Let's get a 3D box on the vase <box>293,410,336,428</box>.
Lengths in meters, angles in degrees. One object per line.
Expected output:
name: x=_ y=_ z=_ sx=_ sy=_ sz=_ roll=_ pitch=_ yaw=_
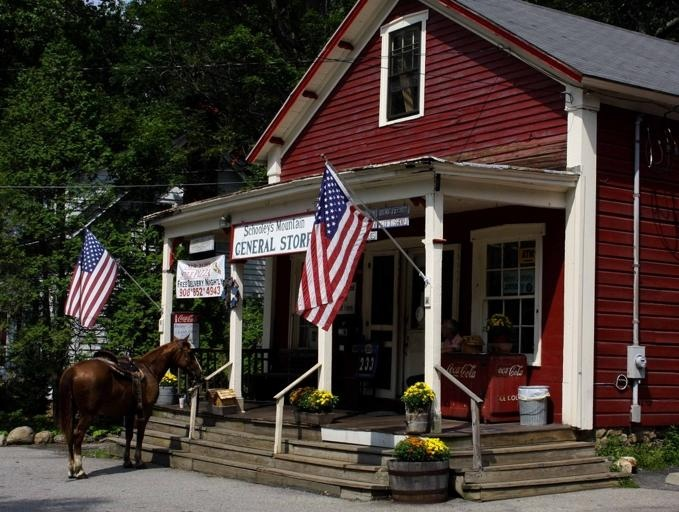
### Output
vase: x=-0.481 y=2.937 z=15.738 sx=0.727 sy=0.295 sz=0.441 roll=1 pitch=-11 yaw=9

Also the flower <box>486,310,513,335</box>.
flower: x=3.026 y=1.255 z=16.430 sx=0.393 sy=0.396 sz=0.405 roll=-9 pitch=-14 yaw=38

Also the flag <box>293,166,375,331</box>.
flag: x=-0.099 y=-0.179 z=14.464 sx=0.542 sy=2.741 sz=1.314 roll=13 pitch=-15 yaw=-43

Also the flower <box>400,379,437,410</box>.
flower: x=1.274 y=2.261 z=14.249 sx=0.433 sy=0.415 sz=0.456 roll=1 pitch=-3 yaw=-32

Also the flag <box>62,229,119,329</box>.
flag: x=-5.438 y=0.504 z=19.159 sx=1.102 sy=2.018 sz=0.581 roll=-2 pitch=-12 yaw=23

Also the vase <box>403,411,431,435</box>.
vase: x=1.257 y=2.701 z=14.214 sx=0.346 sy=0.274 sz=0.347 roll=-5 pitch=-8 yaw=37

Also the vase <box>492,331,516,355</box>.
vase: x=3.051 y=1.594 z=16.313 sx=0.399 sy=0.404 sz=0.416 roll=3 pitch=-9 yaw=3

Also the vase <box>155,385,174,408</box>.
vase: x=-3.902 y=3.179 z=19.688 sx=0.437 sy=0.437 sz=0.440 roll=3 pitch=-7 yaw=-20

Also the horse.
horse: x=-4.143 y=3.152 z=17.660 sx=1.019 sy=2.205 sz=2.554 roll=-11 pitch=-14 yaw=40

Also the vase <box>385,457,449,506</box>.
vase: x=1.245 y=3.487 z=13.682 sx=0.677 sy=0.433 sz=0.696 roll=0 pitch=-4 yaw=-4

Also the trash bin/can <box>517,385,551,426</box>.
trash bin/can: x=3.592 y=2.688 z=15.690 sx=0.594 sy=0.645 sz=0.622 roll=4 pitch=-10 yaw=-20
